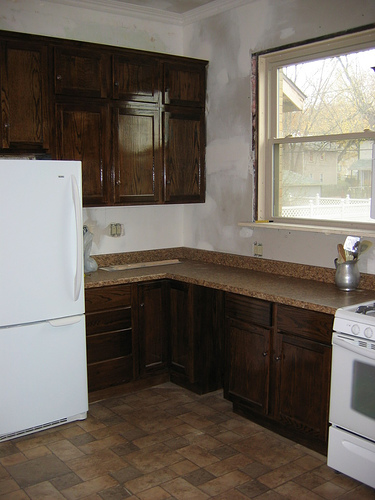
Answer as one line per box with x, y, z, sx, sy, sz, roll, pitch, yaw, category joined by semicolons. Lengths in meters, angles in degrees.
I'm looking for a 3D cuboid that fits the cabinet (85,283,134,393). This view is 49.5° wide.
-0.571;0.568;2.814;0.302;0.665;0.327;-4;12;-32;cabinet

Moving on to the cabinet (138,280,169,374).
-0.266;0.546;2.996;0.192;0.645;0.223;-4;13;-29;cabinet

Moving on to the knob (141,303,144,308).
-0.315;0.385;2.847;0.009;0.031;0.022;1;-1;35;knob

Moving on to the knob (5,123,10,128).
-1.064;-0.739;2.414;0.009;0.028;0.029;-1;-1;34;knob

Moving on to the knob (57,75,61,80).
-0.809;-1.093;2.569;0.020;0.021;0.007;-13;20;-35;knob

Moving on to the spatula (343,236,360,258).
0.909;-0.023;2.257;0.021;0.089;0.091;17;-3;-38;spatula

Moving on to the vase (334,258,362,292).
0.898;0.134;2.234;0.184;0.181;0.113;0;-1;-26;vase

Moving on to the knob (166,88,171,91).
-0.143;-1.223;3.098;0.029;0.017;0.021;-4;5;-25;knob

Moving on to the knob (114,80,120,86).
-0.487;-1.160;2.826;0.029;0.030;0.010;-27;16;-28;knob

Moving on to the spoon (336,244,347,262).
0.843;0.021;2.233;0.031;0.112;0.026;-3;-13;-12;spoon

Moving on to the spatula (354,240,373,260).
0.973;-0.012;2.239;0.040;0.079;0.016;29;50;2;spatula

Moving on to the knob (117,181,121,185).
-0.490;-0.483;2.923;0.007;0.025;0.031;-1;-1;39;knob

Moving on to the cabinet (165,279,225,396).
0.085;0.625;2.889;0.352;0.833;0.373;-5;10;-30;cabinet

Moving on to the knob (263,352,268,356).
0.425;0.567;2.227;0.022;0.032;0.050;-4;-7;9;knob

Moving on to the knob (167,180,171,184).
-0.147;-0.535;3.188;0.032;0.032;0.017;-9;16;-41;knob

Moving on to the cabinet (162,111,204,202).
-0.063;-0.721;3.311;0.317;0.736;0.231;-5;14;-32;cabinet
